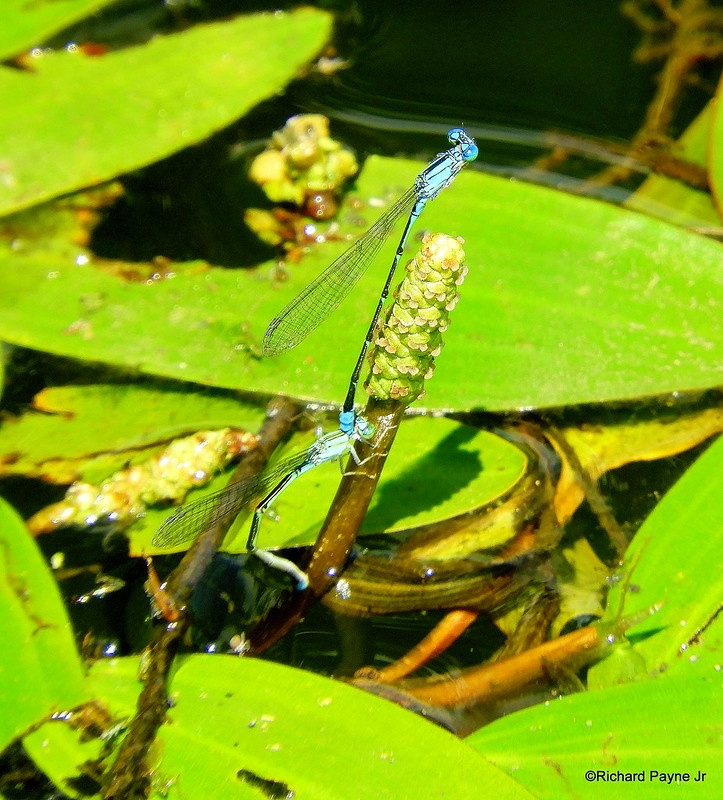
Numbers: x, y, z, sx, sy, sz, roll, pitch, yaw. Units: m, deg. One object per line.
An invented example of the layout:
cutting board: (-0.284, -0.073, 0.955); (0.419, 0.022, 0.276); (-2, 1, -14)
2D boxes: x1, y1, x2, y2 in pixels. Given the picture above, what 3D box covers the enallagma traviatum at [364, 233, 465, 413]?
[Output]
enallagma traviatum: (0.105, -0.145, 1.758); (0.219, 0.415, 0.108); (-2, 32, 3)
